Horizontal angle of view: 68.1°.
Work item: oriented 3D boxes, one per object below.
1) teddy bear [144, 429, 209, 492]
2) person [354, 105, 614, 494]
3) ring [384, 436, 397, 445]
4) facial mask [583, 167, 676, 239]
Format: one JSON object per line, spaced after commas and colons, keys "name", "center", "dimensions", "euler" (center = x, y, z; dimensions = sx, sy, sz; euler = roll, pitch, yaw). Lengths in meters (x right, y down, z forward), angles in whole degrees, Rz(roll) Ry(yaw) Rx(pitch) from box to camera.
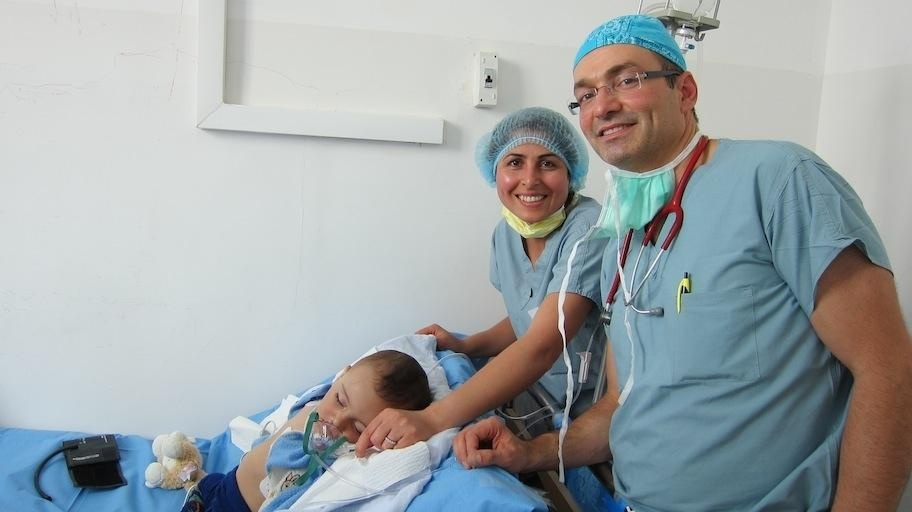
{"name": "teddy bear", "center": [-1.160, 0.848, 2.808], "dimensions": [0.254, 0.230, 0.192], "euler": [-7, -6, 38]}
{"name": "person", "center": [0.195, 0.179, 2.859], "dimensions": [0.873, 1.463, 0.727], "euler": [1, 1, -4]}
{"name": "ring", "center": [-0.237, 0.671, 2.442], "dimensions": [0.033, 0.025, 0.026], "euler": [0, -8, 1]}
{"name": "facial mask", "center": [0.627, -0.182, 2.398], "dimensions": [0.247, 0.245, 0.082], "euler": [0, 13, 18]}
